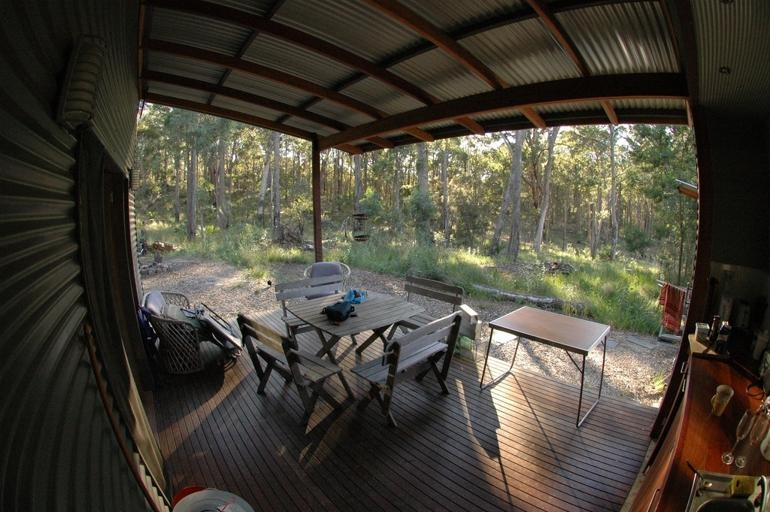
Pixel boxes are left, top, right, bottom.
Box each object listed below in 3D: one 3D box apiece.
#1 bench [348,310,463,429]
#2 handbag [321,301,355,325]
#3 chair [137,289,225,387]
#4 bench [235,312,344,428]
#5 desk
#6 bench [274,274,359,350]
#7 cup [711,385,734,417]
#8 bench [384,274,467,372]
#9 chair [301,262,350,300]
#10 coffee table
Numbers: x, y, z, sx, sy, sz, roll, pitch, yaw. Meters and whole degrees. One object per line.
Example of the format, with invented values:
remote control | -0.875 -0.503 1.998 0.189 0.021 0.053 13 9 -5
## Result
bench | 0.279 1.157 4.988 0.556 1.017 1.289 15 18 40
handbag | -0.489 0.642 5.182 0.248 0.119 0.259 8 11 30
chair | -2.491 0.996 5.620 0.938 1.014 1.106 -7 18 -29
bench | -1.034 1.170 4.979 0.700 1.014 1.342 -16 17 -37
desk | 1.804 1.210 5.195 1.102 0.894 0.856 8 9 30
bench | -0.977 0.534 6.378 1.191 1.167 0.911 -5 15 -35
cup | 2.257 0.953 3.049 0.104 0.202 0.227 4 7 37
bench | 0.367 0.815 6.032 0.778 1.028 0.988 6 5 -44
chair | -0.937 0.339 7.049 0.614 0.830 0.581 0 -4 2
coffee table | -0.413 0.946 5.435 1.071 0.613 1.052 -7 10 -43
